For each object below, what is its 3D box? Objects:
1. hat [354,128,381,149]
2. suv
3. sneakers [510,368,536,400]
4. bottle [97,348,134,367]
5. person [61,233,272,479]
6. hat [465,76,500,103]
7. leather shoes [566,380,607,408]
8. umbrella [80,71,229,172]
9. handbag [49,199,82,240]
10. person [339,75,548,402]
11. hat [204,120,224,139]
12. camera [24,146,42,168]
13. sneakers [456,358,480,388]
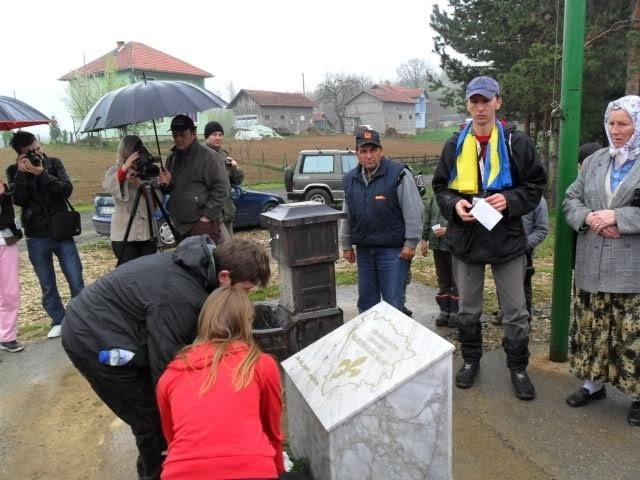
[{"bbox_3d":[0.450,-0.971,4.764,0.179,0.140,0.240,-3,7,1],"label":"hat"},{"bbox_3d":[0.924,-1.775,14.343,3.794,1.914,2.207,-2,9,3],"label":"suv"},{"bbox_3d":[1.621,1.154,3.986,0.103,0.122,0.290,-8,3,-1],"label":"sneakers"},{"bbox_3d":[-1.170,0.664,2.864,0.155,0.104,0.061,5,-8,-9],"label":"bottle"},{"bbox_3d":[-0.986,0.415,3.304,1.415,1.751,0.893,-3,27,-12],"label":"person"},{"bbox_3d":[1.313,-1.215,3.982,0.187,0.135,0.262,3,3,29],"label":"hat"},{"bbox_3d":[2.072,1.191,3.926,0.351,0.125,0.127,-5,-1,-24],"label":"leather shoes"},{"bbox_3d":[-1.694,-1.276,5.174,1.233,0.687,1.267,3,29,20],"label":"umbrella"},{"bbox_3d":[-2.742,-0.244,5.389,0.194,0.427,0.302,-5,9,39],"label":"handbag"},{"bbox_3d":[1.348,-0.039,4.045,0.844,2.528,0.618,1,12,23],"label":"person"},{"bbox_3d":[-1.324,-1.346,6.109,0.229,0.201,0.213,1,10,23],"label":"hat"},{"bbox_3d":[-2.896,-0.845,5.083,0.175,0.166,0.169,-22,23,-34],"label":"camera"},{"bbox_3d":[1.240,1.133,4.198,0.115,0.141,0.312,0,-2,26],"label":"sneakers"}]
